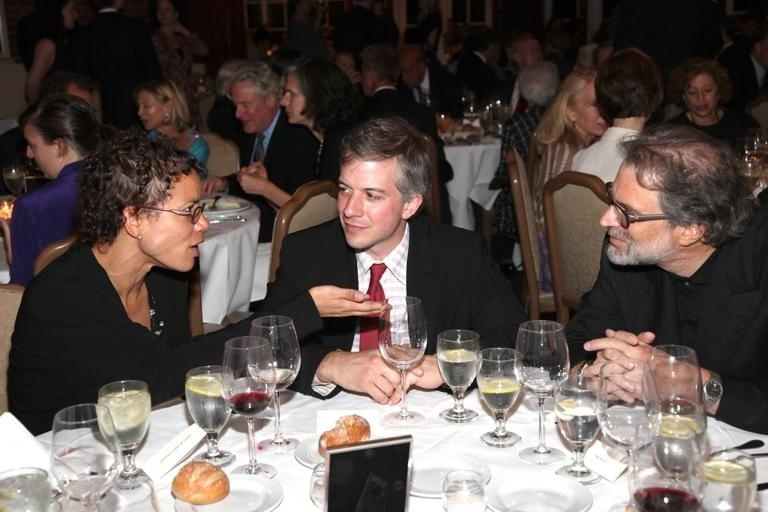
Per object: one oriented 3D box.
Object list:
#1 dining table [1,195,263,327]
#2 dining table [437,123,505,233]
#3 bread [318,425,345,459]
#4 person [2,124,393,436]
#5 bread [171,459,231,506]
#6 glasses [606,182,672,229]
[{"bbox_3d":[-1.126,0.034,3.664,0.783,0.526,1.008,7,30,9],"label":"dining table"},{"bbox_3d":[0.732,-0.744,5.558,0.766,0.742,0.763,-1,26,0],"label":"dining table"},{"bbox_3d":[-0.139,0.474,1.561,0.081,0.028,0.109,0,10,7],"label":"bread"},{"bbox_3d":[-0.578,-0.078,2.480,1.419,1.305,0.798,-3,20,-5],"label":"person"},{"bbox_3d":[-0.445,0.524,1.472,0.101,0.059,0.103,12,10,41],"label":"bread"},{"bbox_3d":[0.866,-0.169,2.078,0.160,0.049,0.158,1,28,-8],"label":"glasses"}]
